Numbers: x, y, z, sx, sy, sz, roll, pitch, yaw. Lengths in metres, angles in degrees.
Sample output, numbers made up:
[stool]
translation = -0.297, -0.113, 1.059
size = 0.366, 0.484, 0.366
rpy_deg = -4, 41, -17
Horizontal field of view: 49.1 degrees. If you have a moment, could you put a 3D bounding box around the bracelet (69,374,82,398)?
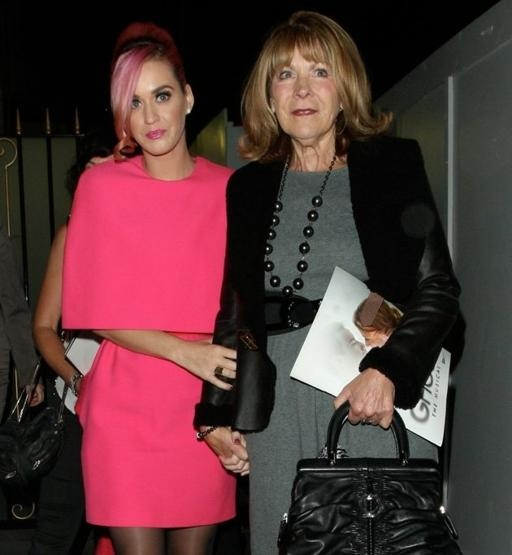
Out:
[bracelet]
translation = -0.696, 0.413, 2.169
size = 0.037, 0.068, 0.089
rpy_deg = 12, -42, -12

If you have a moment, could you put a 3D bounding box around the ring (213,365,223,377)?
[ring]
translation = -0.113, 0.274, 1.651
size = 0.028, 0.027, 0.034
rpy_deg = 7, 8, -6
